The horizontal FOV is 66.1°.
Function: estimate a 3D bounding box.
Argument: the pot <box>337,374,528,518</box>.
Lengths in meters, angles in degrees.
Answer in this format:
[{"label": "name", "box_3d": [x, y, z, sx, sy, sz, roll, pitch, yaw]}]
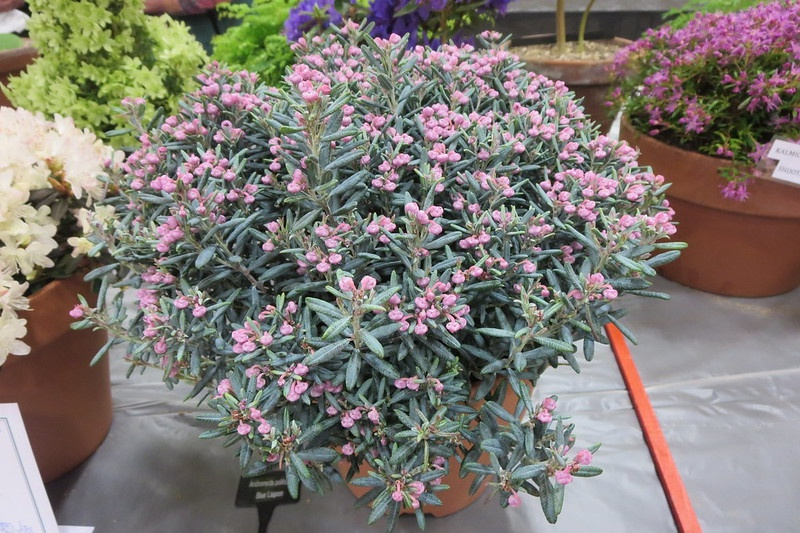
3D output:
[{"label": "pot", "box_3d": [0.082, 0.507, 1.934, 0.514, 0.378, 0.478, -2, 33, 1]}]
